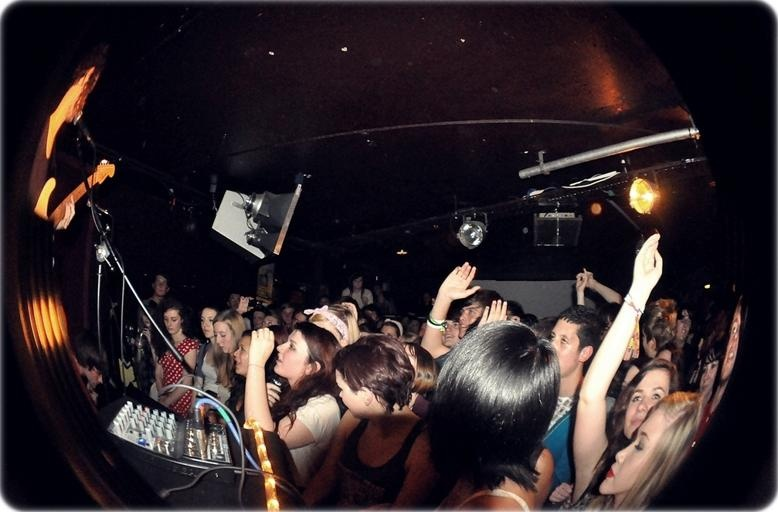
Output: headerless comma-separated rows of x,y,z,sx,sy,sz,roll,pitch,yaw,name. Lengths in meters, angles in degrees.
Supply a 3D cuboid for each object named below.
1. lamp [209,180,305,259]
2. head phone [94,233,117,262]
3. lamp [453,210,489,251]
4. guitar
-0.852,-0.230,3.226,0.518,0.521,0.276,13,-3,7,lamp
-1.943,-0.059,3.451,0.118,0.181,0.066,3,8,4,head phone
0.493,-0.153,3.201,0.194,0.269,0.150,3,-16,-11,lamp
-2.156,-0.442,3.539,0.548,0.413,0.059,5,-8,27,guitar
